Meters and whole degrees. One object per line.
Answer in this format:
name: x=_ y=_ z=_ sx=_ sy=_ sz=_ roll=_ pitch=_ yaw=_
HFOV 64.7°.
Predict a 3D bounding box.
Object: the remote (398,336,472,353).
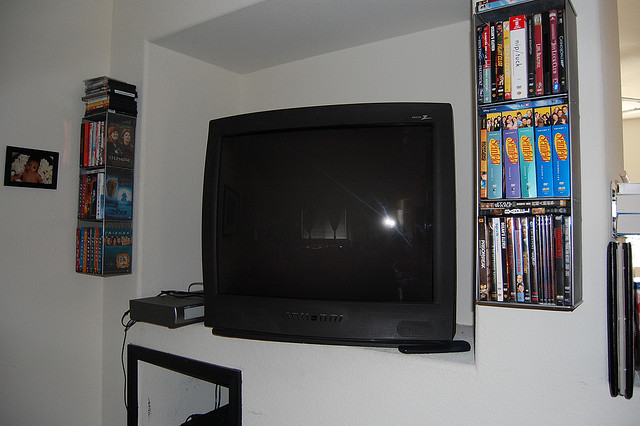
remote: x=0.544 y=0.633 z=2.415 sx=0.335 sy=0.046 sz=0.079 roll=-1 pitch=0 yaw=0
